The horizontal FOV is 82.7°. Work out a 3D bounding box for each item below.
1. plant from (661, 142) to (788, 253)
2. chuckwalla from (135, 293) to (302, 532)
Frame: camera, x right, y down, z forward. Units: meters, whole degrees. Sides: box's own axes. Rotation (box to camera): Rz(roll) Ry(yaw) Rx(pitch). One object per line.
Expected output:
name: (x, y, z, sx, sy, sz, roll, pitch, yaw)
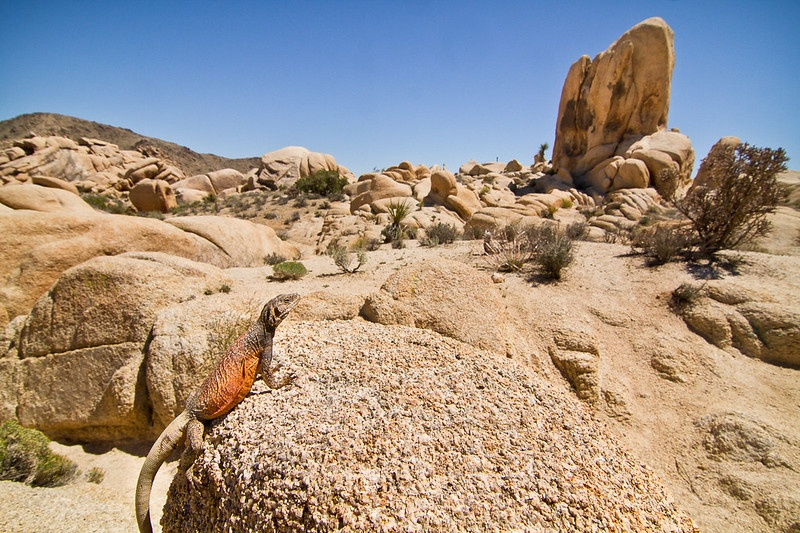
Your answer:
plant: (6.453, -1.284, 8.842, 1.478, 2.126, 1.037, 15, 20, 28)
chuckwalla: (-2.152, 1.902, 5.423, 1.930, 2.990, 0.599, -6, 20, -31)
